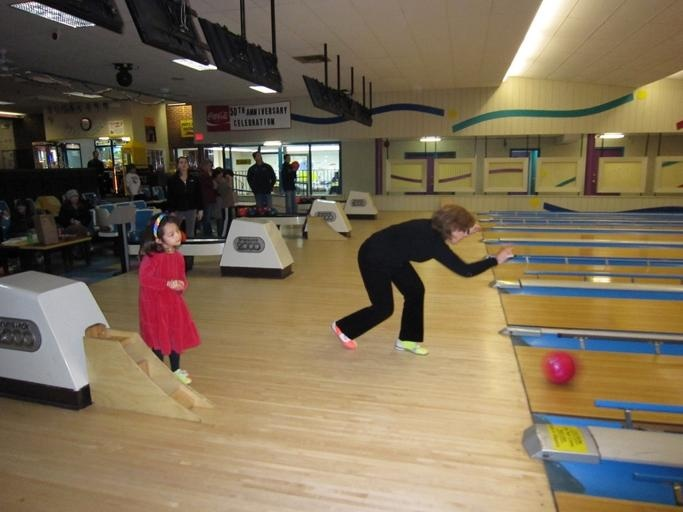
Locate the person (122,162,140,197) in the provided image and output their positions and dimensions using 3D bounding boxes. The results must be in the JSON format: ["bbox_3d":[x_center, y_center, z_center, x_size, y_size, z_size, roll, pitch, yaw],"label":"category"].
[{"bbox_3d":[-5.145,-1.819,11.417,0.328,0.851,1.808,-8,14,-22],"label":"person"}]

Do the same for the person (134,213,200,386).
[{"bbox_3d":[-1.211,0.311,3.191,0.359,1.178,0.278,-8,16,-22],"label":"person"}]
